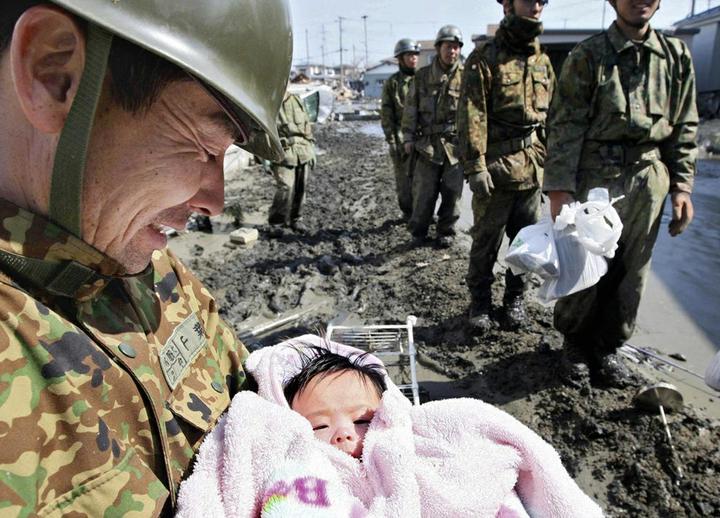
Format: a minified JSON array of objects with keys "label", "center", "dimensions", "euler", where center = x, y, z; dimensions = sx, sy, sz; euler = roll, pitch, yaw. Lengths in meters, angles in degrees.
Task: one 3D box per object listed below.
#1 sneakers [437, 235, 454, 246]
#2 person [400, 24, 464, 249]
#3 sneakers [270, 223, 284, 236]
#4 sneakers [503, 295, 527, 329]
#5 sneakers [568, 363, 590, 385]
[{"label":"sneakers","center":[1.035,-0.211,7.498],"dimensions":[0.119,0.058,0.173],"euler":[1,30,12]},{"label":"person","center":[0.897,-1.503,7.679],"dimensions":[0.734,2.506,1.240],"euler":[0,19,4]},{"label":"sneakers","center":[-1.147,-0.385,8.641],"dimensions":[0.147,0.070,0.195],"euler":[-4,47,6]},{"label":"sneakers","center":[1.349,0.453,5.405],"dimensions":[0.152,0.110,0.286],"euler":[2,53,8]},{"label":"sneakers","center":[1.584,0.826,4.532],"dimensions":[0.113,0.067,0.163],"euler":[-2,56,3]}]
